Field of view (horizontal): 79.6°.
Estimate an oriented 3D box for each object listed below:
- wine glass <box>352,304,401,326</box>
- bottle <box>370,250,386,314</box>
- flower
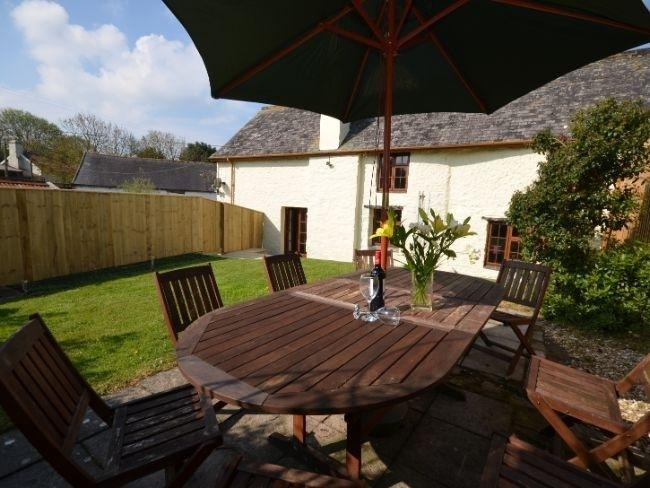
[{"bbox_3d":[0.452,0.599,3.376,0.400,0.122,0.309,0,8,11],"label":"wine glass"},{"bbox_3d":[0.448,0.327,3.409,0.130,0.506,0.262,-1,9,6],"label":"bottle"},{"bbox_3d":[0.921,0.144,3.696,0.901,0.897,0.945,-5,10,-45],"label":"flower"}]
